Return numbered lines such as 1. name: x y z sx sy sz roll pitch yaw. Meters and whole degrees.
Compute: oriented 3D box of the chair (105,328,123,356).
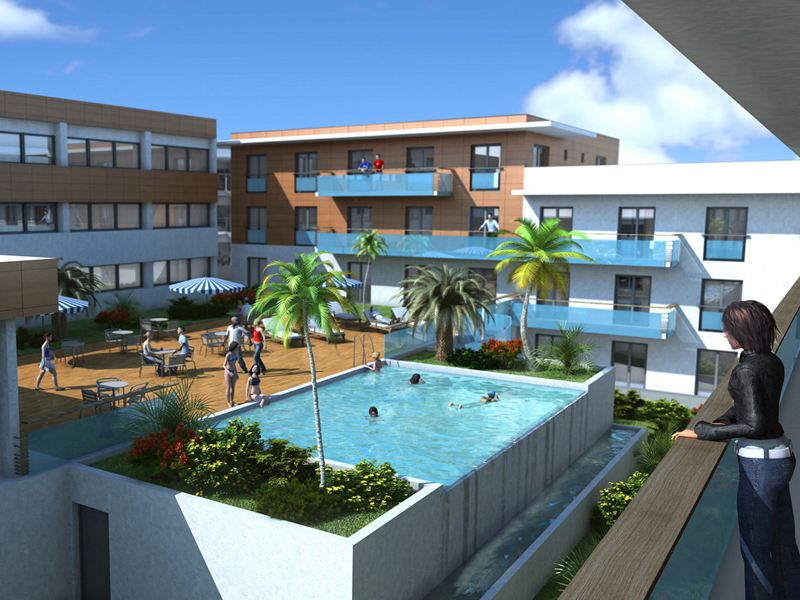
1. chair: -12.988 1.959 27.511 0.839 1.175 0.952 3 6 34
